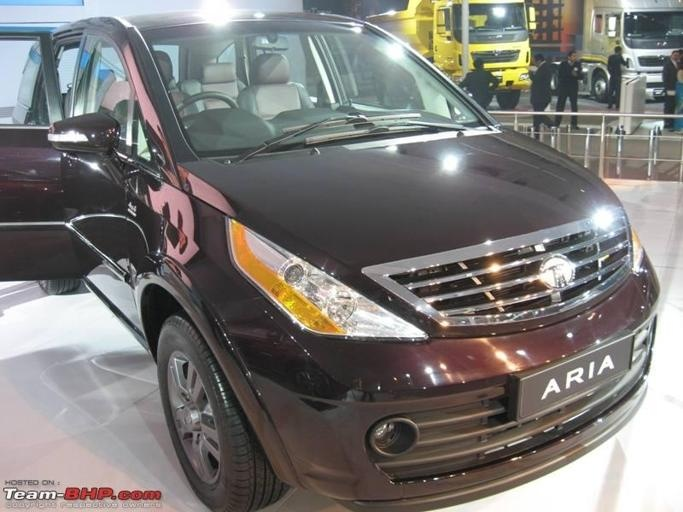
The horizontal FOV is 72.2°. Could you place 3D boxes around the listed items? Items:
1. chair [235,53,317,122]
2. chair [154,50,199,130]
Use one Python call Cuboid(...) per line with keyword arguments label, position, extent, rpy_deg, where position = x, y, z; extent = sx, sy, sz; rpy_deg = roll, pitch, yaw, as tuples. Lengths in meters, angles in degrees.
Cuboid(label="chair", position=(-0.337, -0.862, 2.463), extent=(0.426, 0.386, 0.367), rpy_deg=(-8, 22, -15))
Cuboid(label="chair", position=(-0.676, -0.760, 2.056), extent=(0.229, 0.251, 0.186), rpy_deg=(-13, 39, -26))
